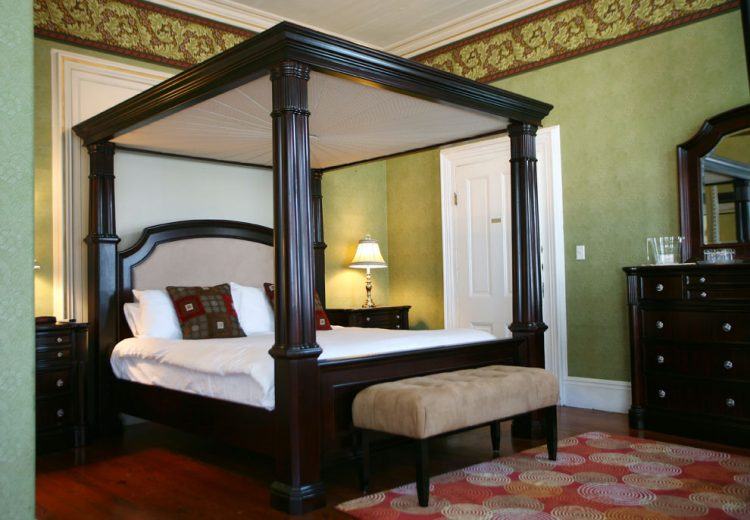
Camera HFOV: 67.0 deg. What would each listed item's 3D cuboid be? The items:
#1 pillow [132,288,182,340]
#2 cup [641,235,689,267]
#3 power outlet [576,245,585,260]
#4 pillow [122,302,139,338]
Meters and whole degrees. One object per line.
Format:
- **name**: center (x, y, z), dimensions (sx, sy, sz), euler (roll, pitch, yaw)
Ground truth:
- **pillow**: center (-1.906, 0.466, 4.989), dimensions (0.127, 0.403, 0.438), euler (-25, -12, 28)
- **cup**: center (2.557, -0.092, 5.030), dimensions (0.289, 0.219, 0.235), euler (-2, -5, 25)
- **power outlet**: center (2.031, -0.075, 5.635), dimensions (0.095, 0.103, 0.013), euler (-1, 1, 43)
- **pillow**: center (-2.151, 0.522, 5.022), dimensions (0.080, 0.254, 0.231), euler (-6, -13, -21)
